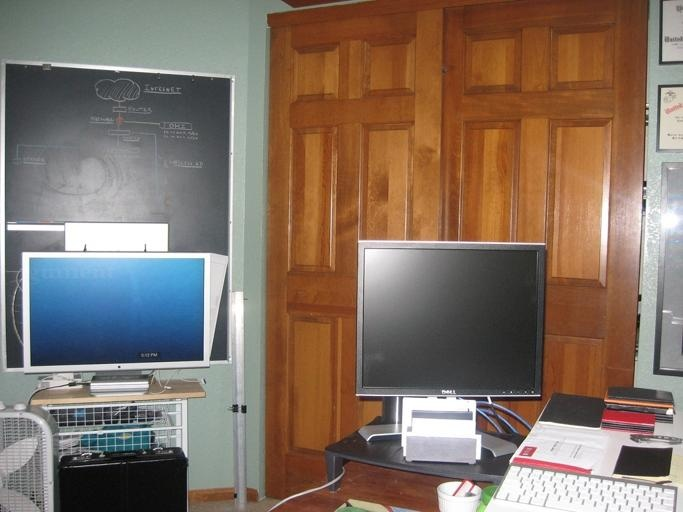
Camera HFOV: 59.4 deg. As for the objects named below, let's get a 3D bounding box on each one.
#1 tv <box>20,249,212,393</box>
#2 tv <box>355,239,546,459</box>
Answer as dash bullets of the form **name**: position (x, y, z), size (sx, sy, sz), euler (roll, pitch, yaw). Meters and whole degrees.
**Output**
- **tv**: position (-1.125, 0.309, 2.965), size (0.697, 0.486, 0.029), euler (0, 2, -7)
- **tv**: position (0.393, 0.334, 2.188), size (0.658, 0.765, 0.354), euler (1, 7, 5)
